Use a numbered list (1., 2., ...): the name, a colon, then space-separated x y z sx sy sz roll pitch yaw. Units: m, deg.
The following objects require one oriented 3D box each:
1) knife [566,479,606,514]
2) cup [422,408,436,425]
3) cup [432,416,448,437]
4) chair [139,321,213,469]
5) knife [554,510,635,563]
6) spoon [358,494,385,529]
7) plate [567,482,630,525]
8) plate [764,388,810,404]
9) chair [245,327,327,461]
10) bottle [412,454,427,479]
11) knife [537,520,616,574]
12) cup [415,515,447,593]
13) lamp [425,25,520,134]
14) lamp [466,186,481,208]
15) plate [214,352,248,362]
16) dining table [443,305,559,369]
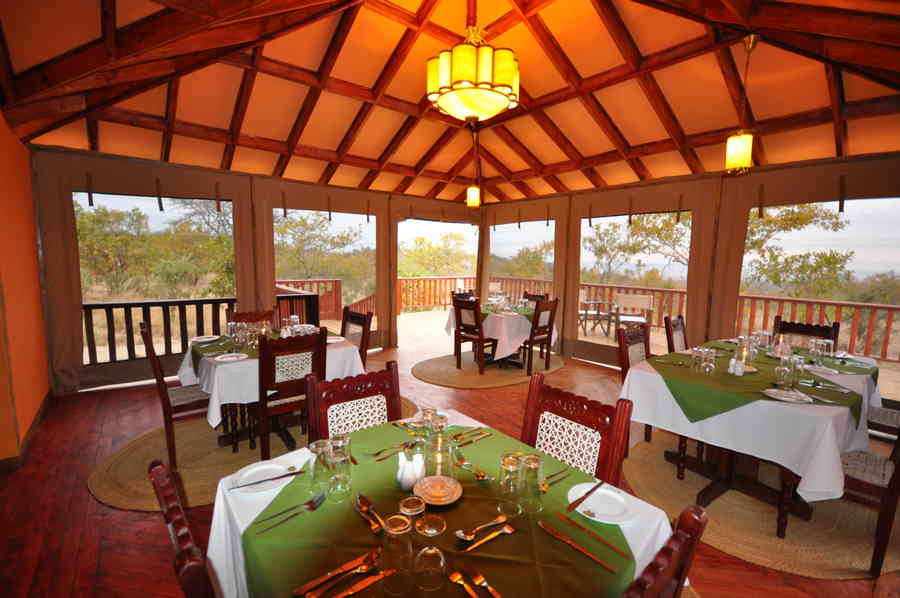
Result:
1. knife: 0.875 1.281 3.557 0.355 0.026 0.048 -20 48 -33
2. cup: -0.145 0.815 3.860 0.092 0.104 0.092 -1 -4 0
3. cup: -0.068 0.863 3.771 0.087 0.101 0.093 1 -1 0
4. chair: -2.553 0.877 5.132 0.539 1.369 0.680 -3 5 -34
5. knife: 0.892 1.476 3.404 0.062 0.024 0.478 -33 43 -29
6. spoon: -0.502 1.353 3.479 0.087 0.039 0.269 -12 33 -32
7. plate: 0.995 1.302 3.533 0.316 0.034 0.322 13 21 27
8. plate: 2.706 0.776 4.433 0.330 0.076 0.175 0 4 2
9. chair: -1.602 0.775 5.287 0.689 1.230 0.805 -2 20 -25
10. bottle: -0.218 1.086 3.650 0.118 0.190 0.127 0 5 0
11. knife: 0.770 1.526 3.367 0.460 0.023 0.058 30 49 35
12. cup: -0.118 1.533 3.341 0.195 0.361 0.242 0 4 -1
13. lamp: 0.199 -1.987 4.857 0.746 0.831 0.763 0 -4 15
14. lamp: 0.311 -1.365 7.204 0.132 0.300 0.458 1 4 7
15. plate: -2.000 0.531 5.080 0.292 0.049 0.245 -1 4 -14
16. dining table: 0.582 0.340 7.545 0.948 0.485 0.916 -7 13 -38
